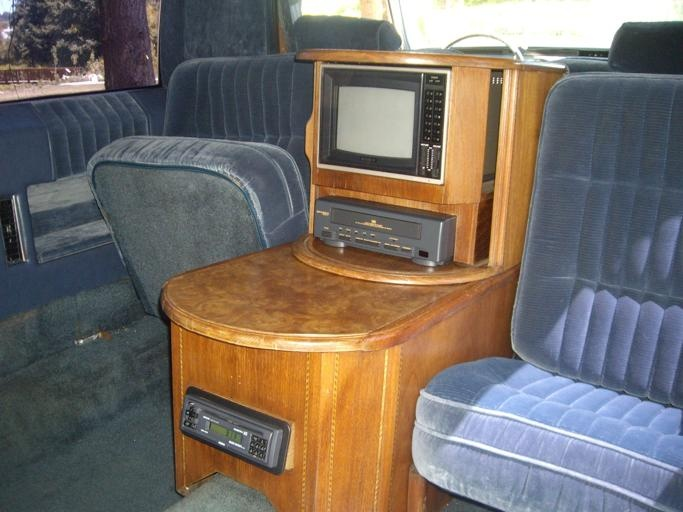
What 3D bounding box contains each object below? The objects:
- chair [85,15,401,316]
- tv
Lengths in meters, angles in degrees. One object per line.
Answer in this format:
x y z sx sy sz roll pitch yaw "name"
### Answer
-0.502 -0.394 2.408 1.207 1.164 1.368 11 24 33 "chair"
0.170 -0.426 1.700 0.462 0.326 0.272 11 22 24 "tv"
